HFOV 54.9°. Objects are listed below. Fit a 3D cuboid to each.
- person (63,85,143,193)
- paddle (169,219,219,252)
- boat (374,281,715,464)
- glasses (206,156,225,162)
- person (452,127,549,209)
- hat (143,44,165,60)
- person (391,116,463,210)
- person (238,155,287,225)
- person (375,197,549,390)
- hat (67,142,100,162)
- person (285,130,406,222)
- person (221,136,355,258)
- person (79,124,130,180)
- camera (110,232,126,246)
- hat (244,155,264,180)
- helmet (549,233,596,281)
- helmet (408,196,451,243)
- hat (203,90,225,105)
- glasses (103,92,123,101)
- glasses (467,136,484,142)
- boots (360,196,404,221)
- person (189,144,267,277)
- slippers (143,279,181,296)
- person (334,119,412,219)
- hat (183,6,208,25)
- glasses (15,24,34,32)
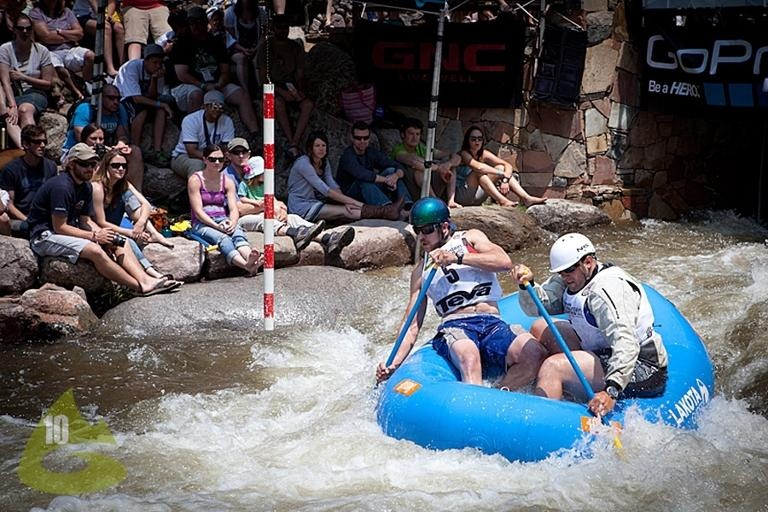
[{"bbox_3d":[-4.414,-1.779,11.525,1.348,1.709,1.045,6,8,21],"label":"person"},{"bbox_3d":[-2.763,-0.299,10.648,0.763,0.194,0.396,37,40,28],"label":"paddle"},{"bbox_3d":[1.710,1.089,7.830,3.526,1.348,2.233,3,12,-1],"label":"boat"},{"bbox_3d":[-2.383,-1.360,10.464,0.217,0.087,0.058,0,12,-15],"label":"glasses"},{"bbox_3d":[1.867,-1.567,12.980,0.773,1.435,1.811,-9,12,-36],"label":"person"},{"bbox_3d":[-3.814,-3.380,12.299,0.279,0.173,0.221,4,11,25],"label":"hat"},{"bbox_3d":[0.740,-1.594,12.868,1.222,1.513,1.013,3,13,25],"label":"person"},{"bbox_3d":[-1.779,-1.006,11.220,1.006,1.101,0.662,-4,-2,37],"label":"person"},{"bbox_3d":[0.851,0.470,8.793,1.331,0.999,2.029,-23,54,4],"label":"person"},{"bbox_3d":[-3.917,-1.347,9.674,0.348,0.240,0.311,-5,15,-35],"label":"hat"},{"bbox_3d":[-0.590,-1.222,11.873,1.826,1.470,0.844,7,20,13],"label":"person"},{"bbox_3d":[-1.487,-0.844,11.096,2.138,1.359,0.837,12,1,42],"label":"person"},{"bbox_3d":[-3.997,-1.538,10.582,0.588,0.304,0.789,-19,46,-41],"label":"person"},{"bbox_3d":[-3.497,-0.229,9.769,0.165,0.154,0.128,-6,15,-29],"label":"camera"},{"bbox_3d":[-1.970,-1.347,11.266,0.312,0.190,0.338,-23,4,-6],"label":"hat"},{"bbox_3d":[1.971,-0.052,7.411,0.603,0.337,0.461,-15,-9,21],"label":"helmet"},{"bbox_3d":[0.532,-0.420,8.061,0.424,0.446,0.366,-3,4,-37],"label":"helmet"},{"bbox_3d":[-2.669,-2.527,11.788,0.210,0.165,0.291,5,14,15],"label":"hat"},{"bbox_3d":[-4.206,-2.466,11.472,0.274,0.121,0.138,-9,17,-44],"label":"glasses"},{"bbox_3d":[1.596,-2.016,12.783,0.243,0.101,0.091,-1,13,-19],"label":"glasses"},{"bbox_3d":[-0.104,-0.771,11.917,0.819,0.383,0.276,7,3,5],"label":"boots"},{"bbox_3d":[-2.195,-0.698,10.309,0.633,1.416,1.811,-5,22,-30],"label":"person"},{"bbox_3d":[-2.942,0.411,9.911,0.492,0.155,0.202,-22,1,-5],"label":"slippers"},{"bbox_3d":[-0.068,-1.411,12.251,0.981,1.610,1.490,-16,23,-42],"label":"person"},{"bbox_3d":[-3.247,-4.182,12.869,0.331,0.275,0.335,-1,13,-17],"label":"hat"},{"bbox_3d":[-5.871,-3.701,12.099,0.242,0.118,0.191,-4,14,-31],"label":"glasses"}]
